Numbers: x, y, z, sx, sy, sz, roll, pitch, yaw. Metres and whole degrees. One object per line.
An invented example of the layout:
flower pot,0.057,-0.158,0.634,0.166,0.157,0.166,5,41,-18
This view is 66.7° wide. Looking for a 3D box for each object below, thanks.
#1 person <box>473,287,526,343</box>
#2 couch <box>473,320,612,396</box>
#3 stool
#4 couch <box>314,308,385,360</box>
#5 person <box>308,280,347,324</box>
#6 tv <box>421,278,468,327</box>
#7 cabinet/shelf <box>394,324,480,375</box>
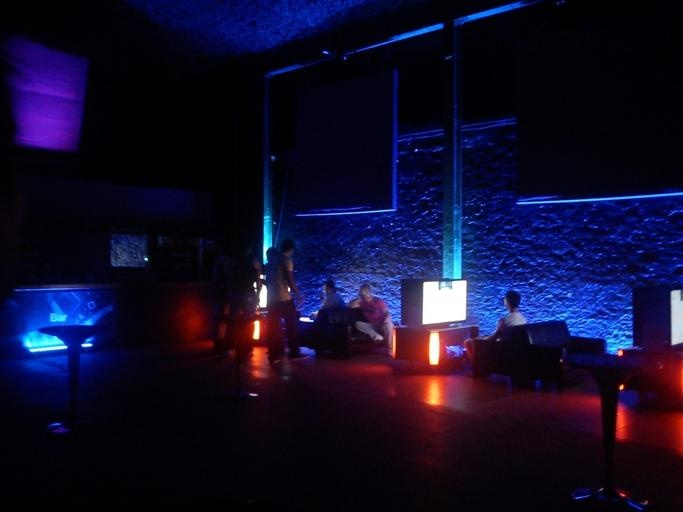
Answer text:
person,2.407,0.862,7.769,0.762,0.938,0.650,1,-1,40
couch,2.666,1.333,7.397,1.428,0.859,0.982,-2,-5,37
stool,-3.098,1.294,5.860,0.558,1.096,1.183,4,-4,-29
couch,0.063,1.319,9.168,0.764,0.806,1.118,-3,-2,40
person,-0.278,0.851,9.456,0.699,0.890,0.567,0,-4,21
tv,1.606,0.723,8.247,0.738,0.560,0.252,0,2,-35
cabinet/shelf,1.423,1.425,8.150,0.718,0.542,1.018,-3,-3,42
